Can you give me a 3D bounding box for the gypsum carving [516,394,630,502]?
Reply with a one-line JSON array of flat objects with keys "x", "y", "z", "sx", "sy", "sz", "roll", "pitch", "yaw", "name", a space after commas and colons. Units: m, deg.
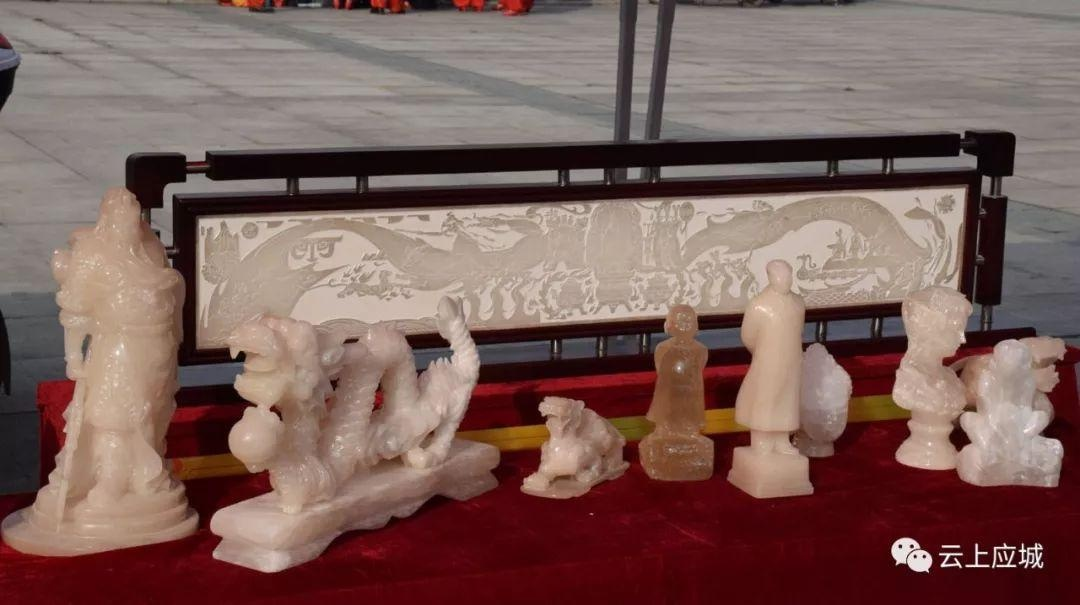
[{"x": 0.133, "y": 0.582, "z": 3.897, "sx": 0.476, "sy": 0.296, "sz": 0.380, "roll": -1, "pitch": 11, "yaw": -18, "name": "gypsum carving"}]
